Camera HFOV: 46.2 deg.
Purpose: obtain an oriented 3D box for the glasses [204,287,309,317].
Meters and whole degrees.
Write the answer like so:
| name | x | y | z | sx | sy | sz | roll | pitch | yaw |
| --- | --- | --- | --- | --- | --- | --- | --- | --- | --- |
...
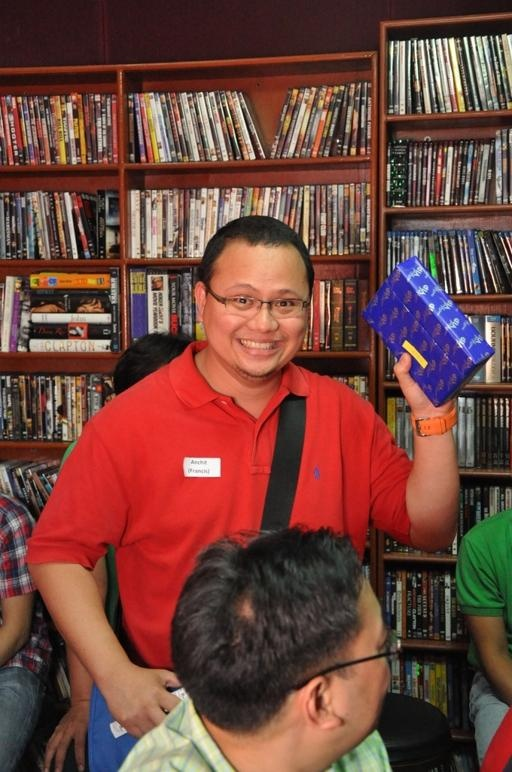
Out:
| name | x | y | z | sx | sy | sz | roll | pitch | yaw |
| --- | --- | --- | --- | --- | --- | --- | --- | --- | --- |
| glasses | 0.001 | -0.159 | 1.143 | 0.198 | 0.066 | 0.086 | -1 | -1 | 1 |
